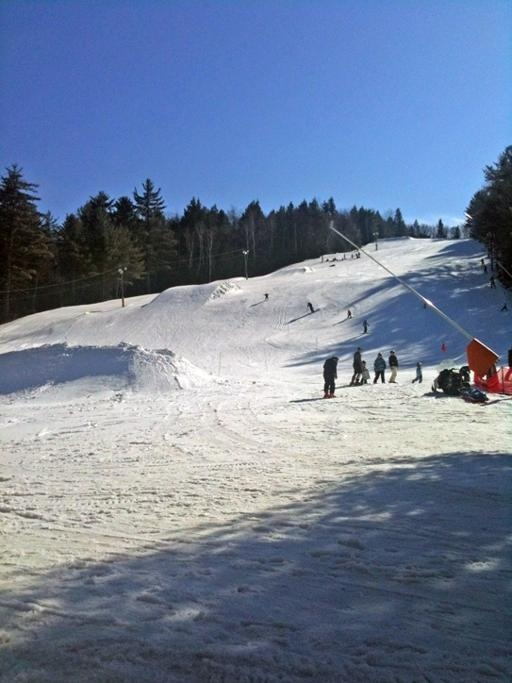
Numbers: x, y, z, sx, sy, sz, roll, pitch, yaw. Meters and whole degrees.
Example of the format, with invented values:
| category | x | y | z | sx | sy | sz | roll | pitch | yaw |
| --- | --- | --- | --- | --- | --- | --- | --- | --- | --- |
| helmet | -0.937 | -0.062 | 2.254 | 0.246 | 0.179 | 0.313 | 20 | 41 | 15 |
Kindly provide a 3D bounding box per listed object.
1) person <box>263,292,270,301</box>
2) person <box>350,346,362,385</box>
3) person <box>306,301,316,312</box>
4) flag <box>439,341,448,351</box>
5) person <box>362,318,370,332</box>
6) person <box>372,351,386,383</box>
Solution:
| category | x | y | z | sx | sy | sz | roll | pitch | yaw |
| --- | --- | --- | --- | --- | --- | --- | --- | --- | --- |
| person | 0.871 | -3.458 | 46.329 | 0.420 | 0.735 | 1.334 | -1 | 1 | 1 |
| person | 3.281 | 0.805 | 19.507 | 0.401 | 1.198 | 1.562 | -1 | 2 | 10 |
| person | 4.080 | -2.380 | 42.678 | 0.461 | 0.746 | 0.782 | -6 | -28 | -9 |
| flag | 9.193 | 0.256 | 29.196 | 0.300 | 0.374 | 0.582 | -3 | -11 | -6 |
| person | 6.532 | -0.871 | 35.356 | 0.437 | 0.822 | 1.756 | -1 | 2 | 10 |
| person | 4.134 | 0.920 | 20.142 | 0.364 | 0.999 | 1.799 | -1 | 2 | 11 |
